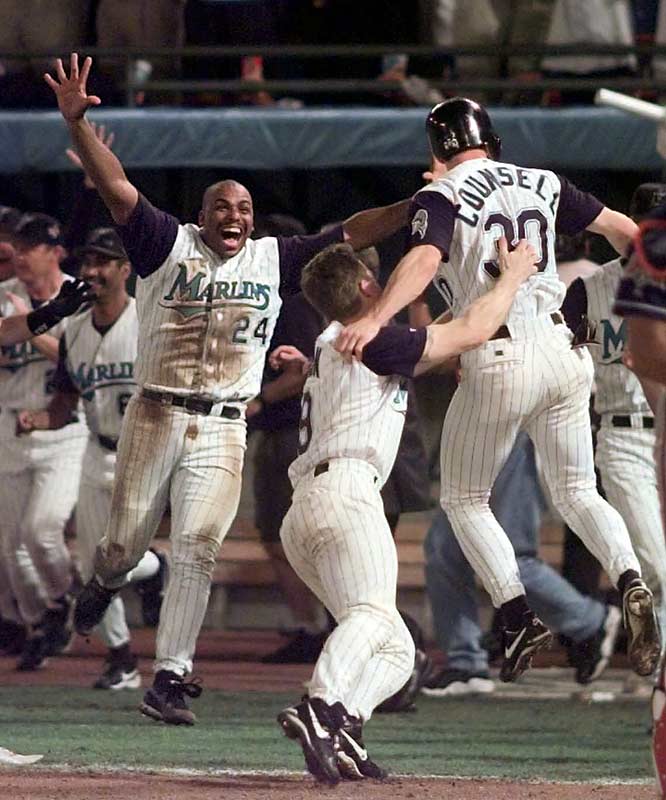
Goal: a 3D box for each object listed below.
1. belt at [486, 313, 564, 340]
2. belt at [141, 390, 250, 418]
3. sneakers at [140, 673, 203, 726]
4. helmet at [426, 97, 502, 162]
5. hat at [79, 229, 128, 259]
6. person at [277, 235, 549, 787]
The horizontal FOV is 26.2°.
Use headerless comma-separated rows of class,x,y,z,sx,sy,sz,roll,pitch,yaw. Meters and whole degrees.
belt,0.648,-0.277,4.920,0.186,0.058,0.135,-8,-9,-44
belt,-0.506,0.015,5.147,0.366,0.076,0.106,6,6,-8
sneakers,-0.555,1.011,4.912,0.218,0.175,0.086,10,-4,33
helmet,0.451,-0.933,5.002,0.274,0.196,0.202,-29,21,-35
hat,-1.002,-0.688,6.352,0.188,0.120,0.232,-2,-13,14
person,0.117,0.352,4.545,0.658,1.638,0.810,9,6,-4
